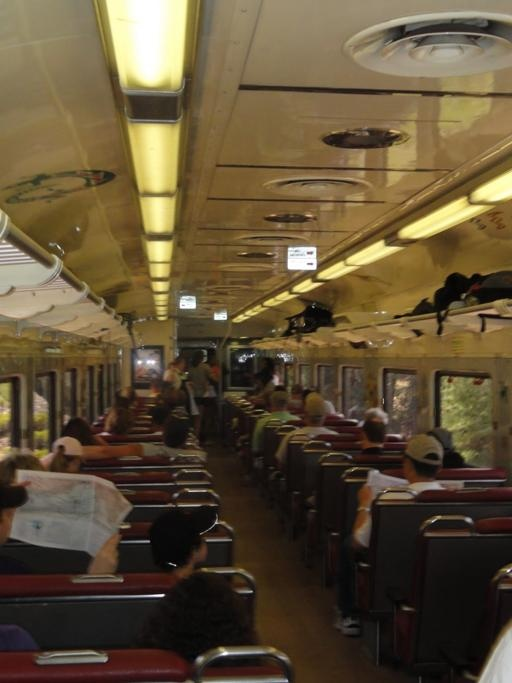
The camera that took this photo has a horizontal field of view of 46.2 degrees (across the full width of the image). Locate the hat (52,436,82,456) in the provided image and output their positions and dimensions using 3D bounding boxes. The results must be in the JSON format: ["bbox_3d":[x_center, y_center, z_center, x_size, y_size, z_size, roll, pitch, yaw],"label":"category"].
[{"bbox_3d":[-1.362,0.747,4.340,0.136,0.113,0.204,9,-4,-31],"label":"hat"}]

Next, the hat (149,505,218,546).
[{"bbox_3d":[-0.280,0.801,2.526,0.263,0.072,0.160,-14,19,-29],"label":"hat"}]

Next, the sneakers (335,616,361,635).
[{"bbox_3d":[0.727,2.201,4.660,0.130,0.065,0.184,2,-12,4],"label":"sneakers"}]

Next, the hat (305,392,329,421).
[{"bbox_3d":[0.775,0.793,7.849,0.305,0.354,0.362,3,38,2],"label":"hat"}]

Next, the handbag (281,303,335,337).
[{"bbox_3d":[1.096,-0.449,12.408,0.614,0.315,0.959,-1,-9,-22],"label":"handbag"}]
